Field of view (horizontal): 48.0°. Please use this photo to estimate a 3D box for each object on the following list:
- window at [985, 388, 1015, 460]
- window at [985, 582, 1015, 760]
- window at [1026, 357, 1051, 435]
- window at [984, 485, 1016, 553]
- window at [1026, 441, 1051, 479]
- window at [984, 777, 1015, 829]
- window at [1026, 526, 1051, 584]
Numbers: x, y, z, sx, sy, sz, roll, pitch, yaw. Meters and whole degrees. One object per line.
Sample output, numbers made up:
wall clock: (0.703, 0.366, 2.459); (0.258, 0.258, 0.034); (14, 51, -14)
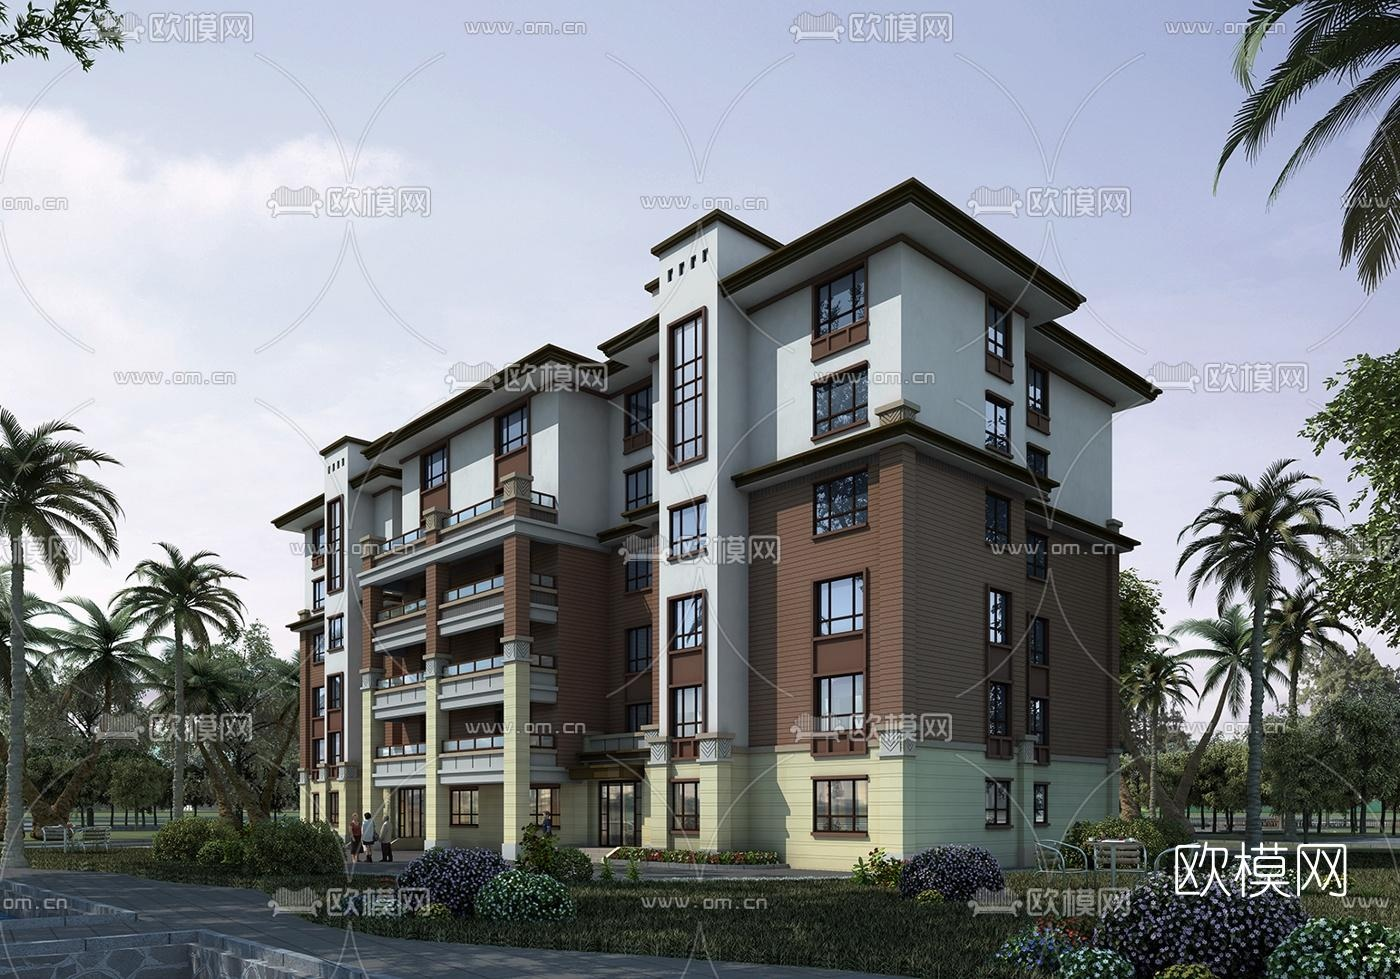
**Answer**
window: (11.886, -2.627, 63.001); (0.242, 2.432, 2.380); (-13, -22, 37)
window: (11.508, 6.916, 61.268); (1.232, 6.445, 0.557); (11, -18, -24)
window: (14.219, -3.901, 66.670); (0.356, 3.465, 2.082); (-27, -47, 36)
window: (11.721, 1.179, 62.087); (0.107, 2.560, 2.139); (-10, -19, 37)
window: (13.993, -1.253, 65.548); (0.185, 0.991, 1.365); (-11, -22, 39)
window: (11.288, 11.920, 59.892); (0.290, 1.742, 1.785); (-12, -17, 38)
window: (13.881, 2.708, 65.041); (0.165, 2.095, 1.780); (-17, -32, 38)
